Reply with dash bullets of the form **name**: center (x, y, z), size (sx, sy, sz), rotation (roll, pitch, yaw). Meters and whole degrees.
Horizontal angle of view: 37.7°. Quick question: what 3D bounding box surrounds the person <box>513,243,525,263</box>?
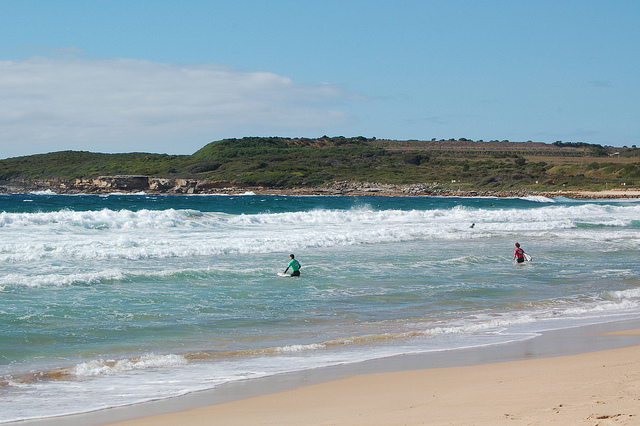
- **person**: center (7.728, 1.532, 36.471), size (0.489, 0.629, 1.050), rotation (-10, -4, 10)
